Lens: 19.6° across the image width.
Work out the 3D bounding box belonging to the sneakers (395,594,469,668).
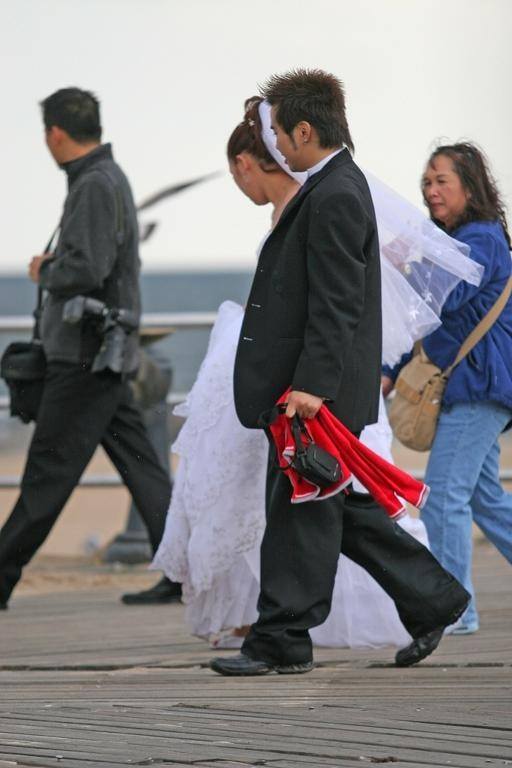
[{"bbox_3d":[0.431,0.613,3.650,0.195,0.063,0.141,-38,-2,-2],"label":"sneakers"}]

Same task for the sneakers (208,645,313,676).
[{"bbox_3d":[0.013,0.660,3.561,0.230,0.097,0.080,5,-10,-9],"label":"sneakers"}]

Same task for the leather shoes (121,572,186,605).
[{"bbox_3d":[-0.316,0.678,4.908,0.258,0.156,0.085,2,-3,-17],"label":"leather shoes"}]

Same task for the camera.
[{"bbox_3d":[-0.445,-0.148,4.348,0.219,0.210,0.069,4,-10,-38],"label":"camera"}]

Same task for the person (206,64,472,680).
[{"bbox_3d":[0.267,-0.013,3.581,0.634,1.358,0.595,6,18,-2],"label":"person"}]

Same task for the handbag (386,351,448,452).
[{"bbox_3d":[0.475,0.049,4.262,0.124,0.283,0.228,12,11,-2],"label":"handbag"}]
